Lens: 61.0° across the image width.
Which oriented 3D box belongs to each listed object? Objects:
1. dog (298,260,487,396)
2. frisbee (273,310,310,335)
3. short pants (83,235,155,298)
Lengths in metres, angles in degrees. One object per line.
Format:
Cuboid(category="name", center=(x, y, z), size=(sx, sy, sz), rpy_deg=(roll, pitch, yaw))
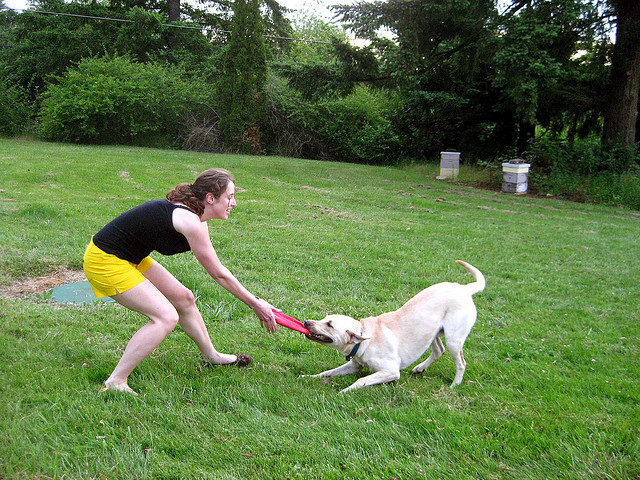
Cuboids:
Cuboid(category="dog", center=(0.938, 0.962, 6.713), size=(2.482, 1.531, 0.956), rpy_deg=(-5, 11, -12))
Cuboid(category="frisbee", center=(-0.316, 0.971, 6.083), size=(0.501, 0.083, 0.160), rpy_deg=(34, 36, -25))
Cuboid(category="short pants", center=(-2.187, 0.245, 5.945), size=(0.607, 0.589, 0.843), rpy_deg=(1, 12, -3))
